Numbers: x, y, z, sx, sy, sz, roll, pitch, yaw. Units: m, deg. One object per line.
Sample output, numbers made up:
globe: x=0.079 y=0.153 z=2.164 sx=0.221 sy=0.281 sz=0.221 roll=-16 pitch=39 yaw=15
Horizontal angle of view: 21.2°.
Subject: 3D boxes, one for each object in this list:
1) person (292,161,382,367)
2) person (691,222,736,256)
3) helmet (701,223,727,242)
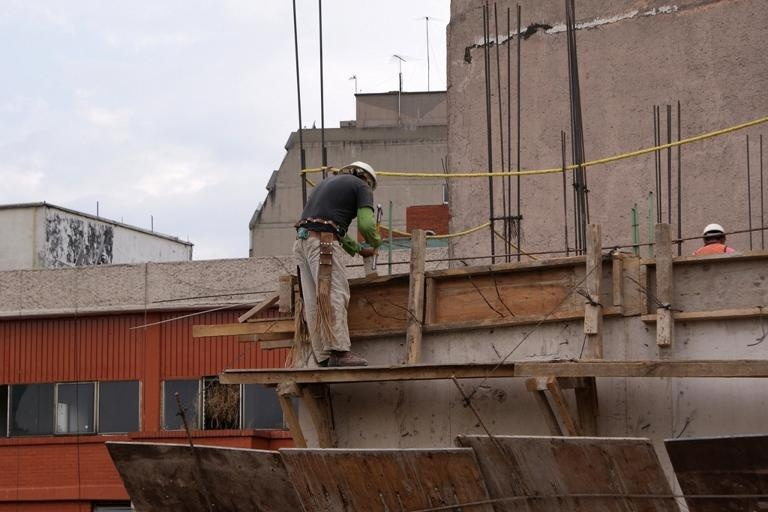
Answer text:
person: x=-0.793 y=0.194 z=34.703 sx=1.325 sy=3.157 sz=0.712 roll=-4 pitch=1 yaw=-3
person: x=5.758 y=-0.397 z=35.872 sx=0.623 sy=0.576 sz=1.060 roll=3 pitch=7 yaw=-3
helmet: x=5.796 y=-0.496 z=35.850 sx=0.362 sy=0.280 sz=0.516 roll=1 pitch=-3 yaw=9
